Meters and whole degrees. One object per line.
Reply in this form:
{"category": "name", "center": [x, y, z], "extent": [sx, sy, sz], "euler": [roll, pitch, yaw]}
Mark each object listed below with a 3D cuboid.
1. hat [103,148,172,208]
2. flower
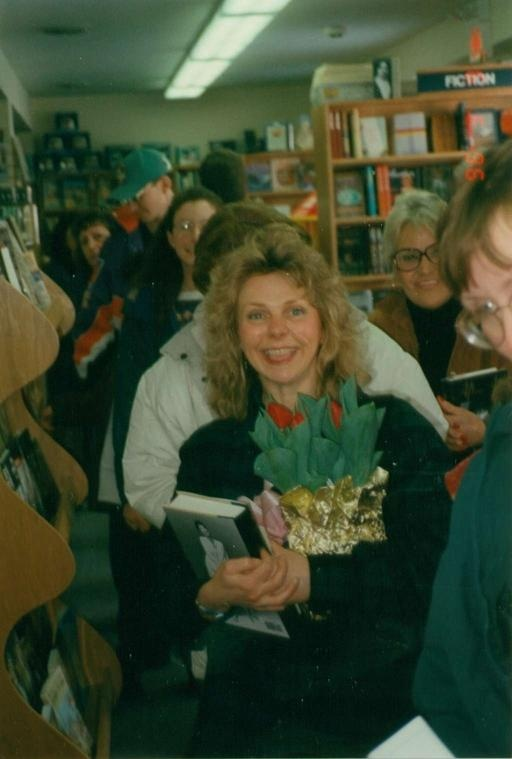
{"category": "hat", "center": [-0.195, -0.358, 1.149], "extent": [0.114, 0.060, 0.073], "euler": [-41, 33, -8]}
{"category": "flower", "center": [0.126, 0.155, 1.376], "extent": [0.278, 0.346, 0.317], "euler": [-11, 2, 11]}
